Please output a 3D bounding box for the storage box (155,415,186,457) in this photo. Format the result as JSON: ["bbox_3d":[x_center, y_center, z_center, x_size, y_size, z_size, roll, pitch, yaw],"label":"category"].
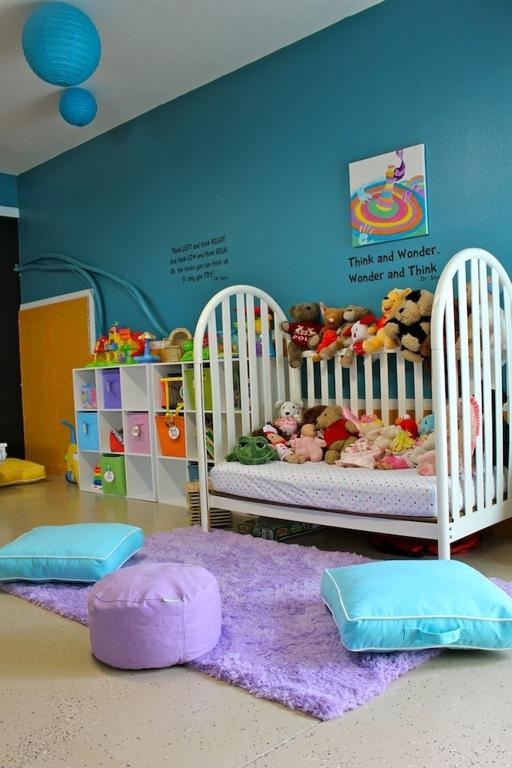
[{"bbox_3d":[-0.505,0.303,3.868,0.181,0.238,0.260,-5,5,-39],"label":"storage box"}]

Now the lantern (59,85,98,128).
[{"bbox_3d":[-1.031,-1.597,3.836,0.243,0.264,0.233,-3,3,-24],"label":"lantern"}]

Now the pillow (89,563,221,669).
[{"bbox_3d":[-0.275,0.584,1.683,0.263,0.147,0.267,-1,1,35],"label":"pillow"}]

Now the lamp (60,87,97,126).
[{"bbox_3d":[-1.050,-1.653,3.811,0.203,0.252,0.245,-4,1,-15],"label":"lamp"}]

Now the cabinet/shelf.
[{"bbox_3d":[-0.408,0.268,3.652,0.317,0.641,0.980,-4,3,-44],"label":"cabinet/shelf"}]

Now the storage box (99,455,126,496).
[{"bbox_3d":[-0.943,0.599,4.283,0.182,0.302,0.265,3,-7,-34],"label":"storage box"}]
